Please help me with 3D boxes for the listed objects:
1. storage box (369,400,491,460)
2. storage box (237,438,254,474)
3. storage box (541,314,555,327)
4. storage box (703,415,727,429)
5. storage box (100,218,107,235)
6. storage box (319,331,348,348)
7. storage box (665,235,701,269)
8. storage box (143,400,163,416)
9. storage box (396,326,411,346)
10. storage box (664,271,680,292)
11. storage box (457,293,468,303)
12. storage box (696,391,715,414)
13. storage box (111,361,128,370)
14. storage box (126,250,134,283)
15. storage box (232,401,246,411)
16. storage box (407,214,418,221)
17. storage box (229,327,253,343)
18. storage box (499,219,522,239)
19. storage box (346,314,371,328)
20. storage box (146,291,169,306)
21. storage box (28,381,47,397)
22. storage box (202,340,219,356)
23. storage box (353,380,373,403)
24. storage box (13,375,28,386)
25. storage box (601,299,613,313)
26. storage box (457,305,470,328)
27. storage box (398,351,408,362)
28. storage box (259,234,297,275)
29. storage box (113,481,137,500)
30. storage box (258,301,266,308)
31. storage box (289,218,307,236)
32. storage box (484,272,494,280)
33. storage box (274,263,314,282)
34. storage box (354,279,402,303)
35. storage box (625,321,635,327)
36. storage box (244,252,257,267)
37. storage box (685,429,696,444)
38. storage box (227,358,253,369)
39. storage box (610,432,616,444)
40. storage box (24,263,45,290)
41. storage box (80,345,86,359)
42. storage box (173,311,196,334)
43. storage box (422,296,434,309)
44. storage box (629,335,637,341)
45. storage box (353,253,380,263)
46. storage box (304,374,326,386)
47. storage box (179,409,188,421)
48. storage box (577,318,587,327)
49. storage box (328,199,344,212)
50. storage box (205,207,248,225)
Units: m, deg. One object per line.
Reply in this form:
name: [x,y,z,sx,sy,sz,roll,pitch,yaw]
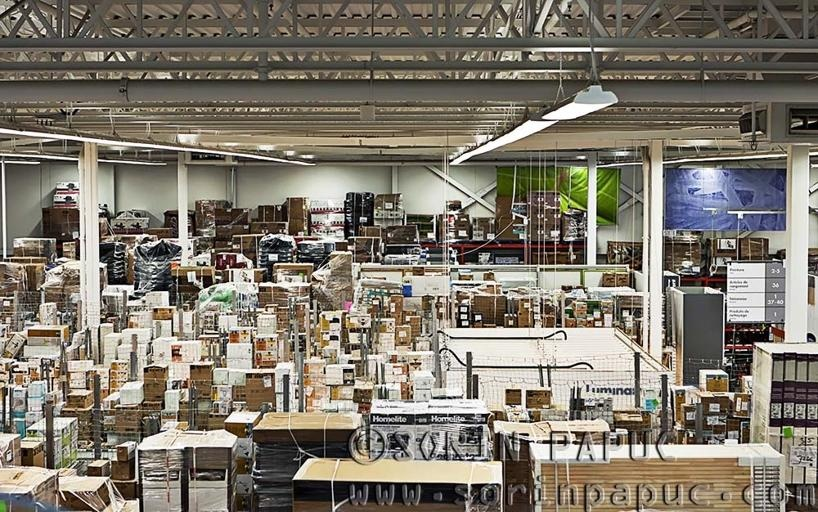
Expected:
storage box: [0.315,3.017,22.067,2.123,0.864,0.482,-1,0,-3]
storage box: [-2.980,3.663,23.454,0.270,0.503,0.430,-1,0,-10]
storage box: [3.348,1.635,31.320,0.294,0.257,0.283,0,-5,-13]
storage box: [6.044,3.367,25.682,0.318,0.203,0.334,0,0,5]
storage box: [-8.938,-0.793,37.822,0.276,0.527,0.542,0,2,-1]
storage box: [-1.693,1.918,28.900,0.415,0.266,0.414,1,2,3]
storage box: [7.519,-0.092,36.575,0.517,0.889,1.006,4,24,23]
storage box: [-5.155,3.092,26.050,0.396,0.211,0.200,-1,0,-7]
storage box: [-0.126,1.851,29.374,0.347,0.472,0.467,0,1,5]
storage box: [6.522,0.677,32.366,0.404,0.732,0.753,1,1,10]
storage box: [1.296,1.073,31.337,0.271,0.198,0.256,-1,0,1]
storage box: [5.882,2.955,25.689,0.471,0.470,0.298,-1,-1,5]
storage box: [-6.089,2.356,27.309,0.217,0.148,0.223,1,2,4]
storage box: [-7.420,0.341,34.414,0.177,0.656,0.693,-1,0,-10]
storage box: [-3.428,3.068,26.104,0.249,0.125,0.381,-1,0,-11]
storage box: [0.072,-1.103,40.191,0.295,0.134,0.206,0,0,0]
storage box: [-3.680,1.759,28.256,0.490,0.256,0.456,-1,0,-5]
storage box: [3.070,-0.702,38.453,0.488,0.460,0.859,0,0,-42]
storage box: [-1.141,1.521,29.139,0.548,0.266,0.168,-1,0,4]
storage box: [-6.000,1.088,30.901,0.389,0.241,0.398,0,2,23]
storage box: [-7.570,2.780,26.533,0.364,0.241,0.474,-1,0,-4]
storage box: [-4.357,2.078,28.430,0.322,0.205,0.325,-1,-1,27]
storage box: [-0.913,2.736,25.771,0.308,0.245,0.444,3,6,1]
storage box: [-8.171,2.628,27.206,0.241,0.145,0.401,-1,0,-20]
storage box: [4.839,1.286,31.898,0.337,0.338,0.256,-1,0,1]
storage box: [1.312,1.472,31.202,0.278,0.464,0.166,-1,0,-4]
storage box: [-0.147,2.250,28.373,0.208,0.197,0.202,1,3,4]
storage box: [-3.588,0.015,35.366,1.002,1.000,1.007,1,2,6]
storage box: [-5.285,4.410,24.102,0.382,0.240,0.386,1,1,0]
storage box: [-3.548,1.233,31.482,0.175,0.108,0.768,-1,0,-8]
storage box: [-3.425,-0.815,39.629,0.489,0.482,0.459,2,-4,-6]
storage box: [2.065,0.575,33.967,0.279,0.192,0.749,-1,0,6]
storage box: [-3.013,0.479,33.534,0.854,0.468,0.790,1,2,1]
storage box: [-0.748,0.897,31.068,1.140,0.481,0.654,-1,0,-3]
storage box: [5.382,1.745,31.779,0.233,0.161,0.120,-1,0,8]
storage box: [-4.487,0.205,36.119,0.242,0.408,0.419,1,-45,3]
storage box: [5.478,3.582,25.341,0.232,0.148,0.232,-2,10,-7]
storage box: [-3.627,2.325,27.692,0.507,0.166,0.095,-1,0,-10]
storage box: [3.459,3.150,22.001,0.125,0.231,0.127,1,14,9]
storage box: [-9.718,0.590,33.686,0.534,0.703,1.004,0,3,-3]
storage box: [-7.260,2.193,28.866,0.201,0.205,0.066,-1,0,28]
storage box: [-5.158,1.592,29.758,0.476,0.469,0.516,-1,0,-18]
storage box: [0.418,1.184,31.266,0.291,0.347,0.295,2,0,8]
storage box: [5.434,2.071,31.430,0.185,0.131,0.778,-1,0,11]
storage box: [-1.207,0.114,36.728,0.756,0.183,0.344,-1,0,0]
storage box: [-1.995,2.622,27.068,0.401,0.203,0.116,-1,0,-2]
storage box: [-4.550,3.254,26.112,0.265,0.261,0.188,2,-6,-6]
storage box: [4.180,1.684,31.621,0.207,0.159,0.202,1,4,6]
storage box: [-2.244,-1.467,39.607,0.465,0.287,0.117,-1,0,-13]
storage box: [-5.416,-1.133,39.296,1.145,0.422,0.342,-1,0,17]
